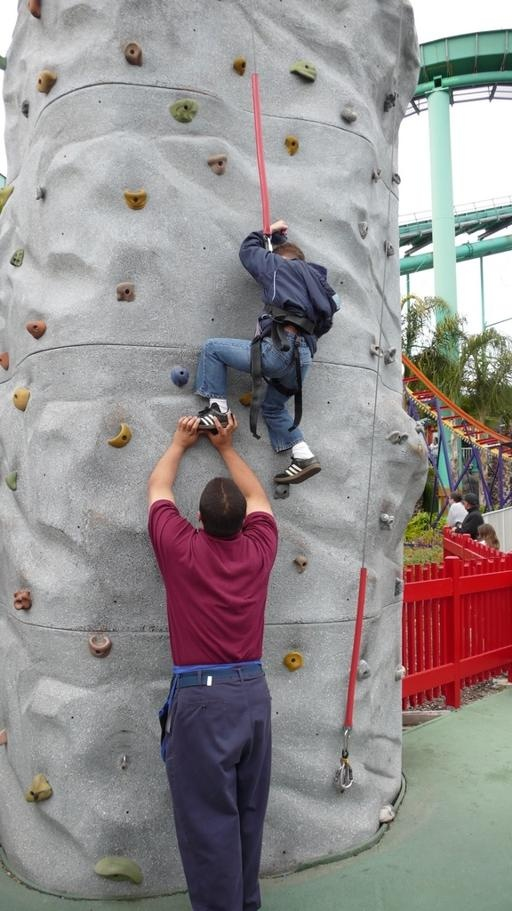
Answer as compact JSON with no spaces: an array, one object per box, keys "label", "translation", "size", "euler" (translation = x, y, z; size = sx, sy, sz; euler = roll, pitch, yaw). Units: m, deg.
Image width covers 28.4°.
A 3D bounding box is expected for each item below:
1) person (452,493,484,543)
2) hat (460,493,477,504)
[{"label":"person","translation":[2.414,0.722,11.512],"size":[0.260,0.519,0.805],"euler":[0,2,12]},{"label":"hat","translation":[2.431,0.511,11.517],"size":[0.117,0.090,0.163],"euler":[1,35,-6]}]
